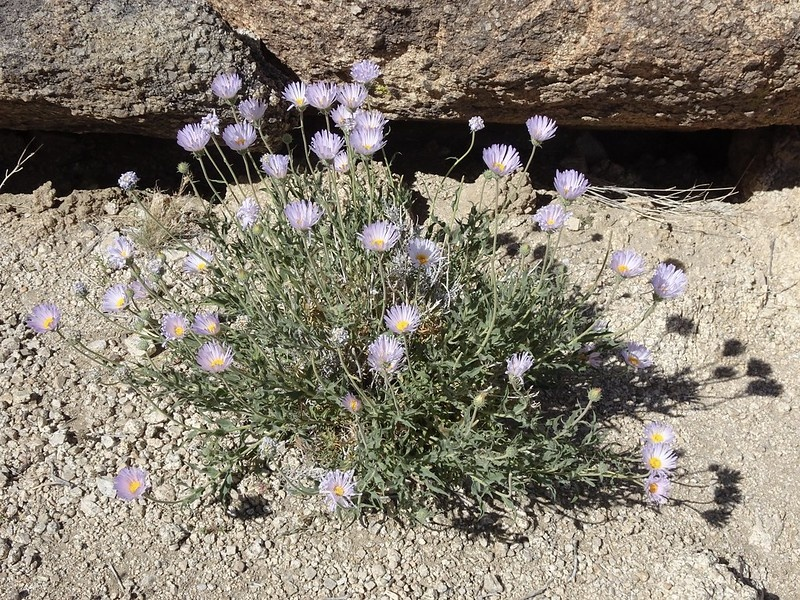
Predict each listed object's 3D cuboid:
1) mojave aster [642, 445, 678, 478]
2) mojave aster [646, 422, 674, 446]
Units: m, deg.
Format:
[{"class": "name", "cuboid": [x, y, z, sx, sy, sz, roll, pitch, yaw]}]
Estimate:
[{"class": "mojave aster", "cuboid": [1.326, 0.821, 4.345, 0.179, 0.141, 0.159, -2, 77, -4]}, {"class": "mojave aster", "cuboid": [1.341, 0.695, 4.410, 0.136, 0.107, 0.113, -3, 77, -4]}]
